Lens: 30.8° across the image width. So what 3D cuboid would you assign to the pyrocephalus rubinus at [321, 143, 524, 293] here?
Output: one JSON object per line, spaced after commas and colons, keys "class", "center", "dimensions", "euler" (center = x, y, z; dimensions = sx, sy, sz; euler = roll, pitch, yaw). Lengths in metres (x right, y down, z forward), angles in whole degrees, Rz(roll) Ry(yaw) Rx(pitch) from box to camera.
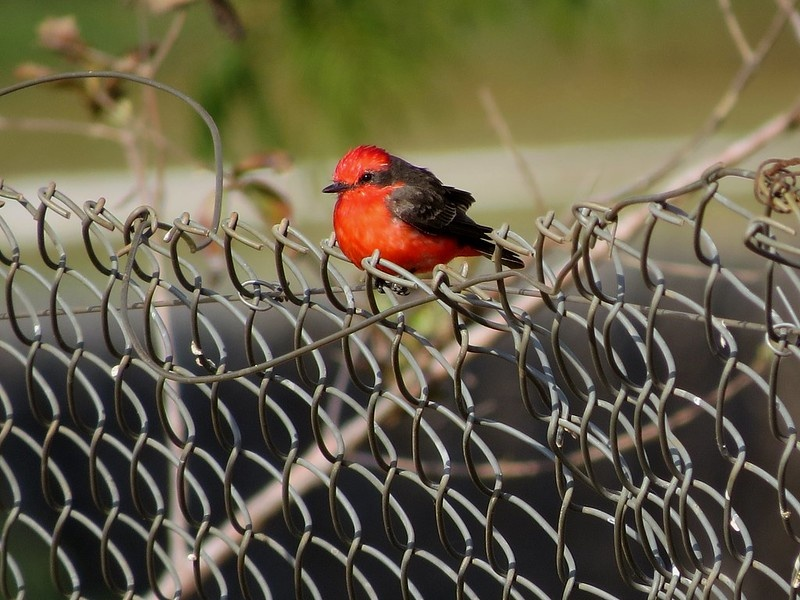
{"class": "pyrocephalus rubinus", "center": [0.089, -0.331, 5.609], "dimensions": [0.804, 0.572, 0.468], "euler": [-7, 4, -33]}
